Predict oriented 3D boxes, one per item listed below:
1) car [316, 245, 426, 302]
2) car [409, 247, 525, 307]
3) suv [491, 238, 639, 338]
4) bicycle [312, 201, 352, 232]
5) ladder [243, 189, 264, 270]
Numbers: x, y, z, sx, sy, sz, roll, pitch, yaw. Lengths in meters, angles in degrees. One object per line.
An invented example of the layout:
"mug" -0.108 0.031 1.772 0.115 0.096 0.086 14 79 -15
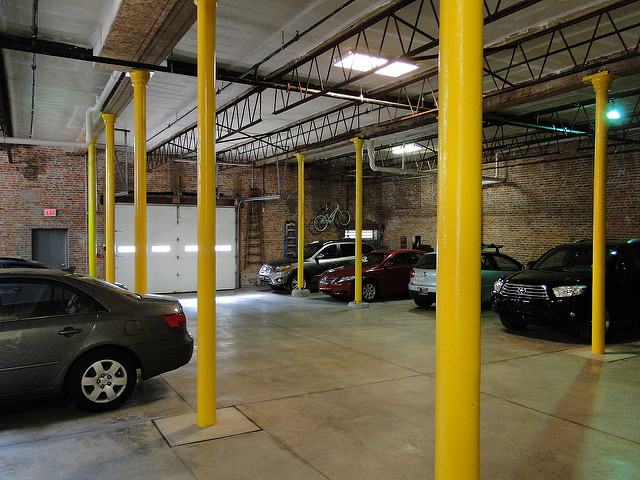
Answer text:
"car" 1.866 1.152 16.081 3.697 0.993 1.565 1 -3 -31
"car" 4.626 1.005 14.166 3.755 1.415 1.898 -2 2 -27
"suv" 5.772 0.980 10.548 3.449 1.382 1.846 2 -4 -26
"bicycle" 0.825 -1.133 24.011 2.404 1.189 1.076 -14 14 -12
"ladder" -3.059 -0.279 22.177 1.091 2.585 0.216 -1 -1 -38
